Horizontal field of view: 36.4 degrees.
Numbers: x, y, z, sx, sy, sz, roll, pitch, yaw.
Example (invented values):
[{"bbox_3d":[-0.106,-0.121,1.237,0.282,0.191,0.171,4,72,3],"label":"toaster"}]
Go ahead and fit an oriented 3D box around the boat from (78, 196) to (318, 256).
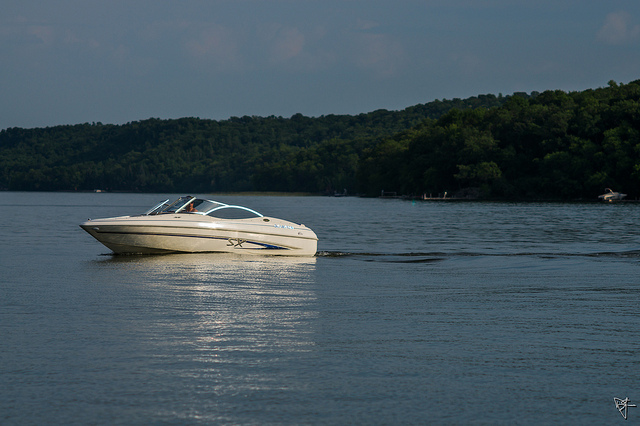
[{"bbox_3d":[-3.869,0.674,40.140,11.600,2.381,2.943,2,-4,-6],"label":"boat"}]
